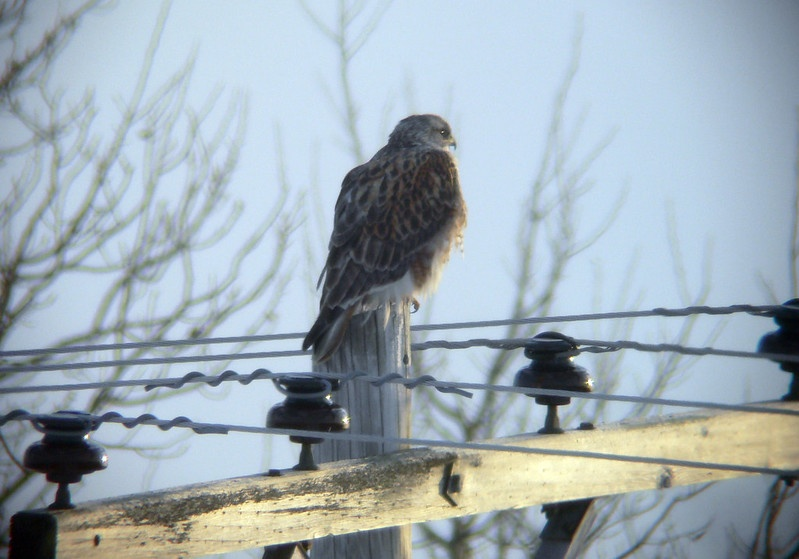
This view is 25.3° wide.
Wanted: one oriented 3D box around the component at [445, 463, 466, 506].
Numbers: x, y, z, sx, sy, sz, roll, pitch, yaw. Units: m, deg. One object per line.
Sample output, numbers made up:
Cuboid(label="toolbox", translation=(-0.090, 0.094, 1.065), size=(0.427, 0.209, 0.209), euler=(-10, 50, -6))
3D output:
Cuboid(label="component", translation=(0.335, 1.260, 10.923), size=(0.050, 0.231, 0.211), euler=(-3, -38, 16))

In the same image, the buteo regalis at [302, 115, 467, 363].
Cuboid(label="buteo regalis", translation=(-0.130, -0.237, 12.385), size=(0.714, 1.746, 1.662), euler=(-3, -13, 23))
